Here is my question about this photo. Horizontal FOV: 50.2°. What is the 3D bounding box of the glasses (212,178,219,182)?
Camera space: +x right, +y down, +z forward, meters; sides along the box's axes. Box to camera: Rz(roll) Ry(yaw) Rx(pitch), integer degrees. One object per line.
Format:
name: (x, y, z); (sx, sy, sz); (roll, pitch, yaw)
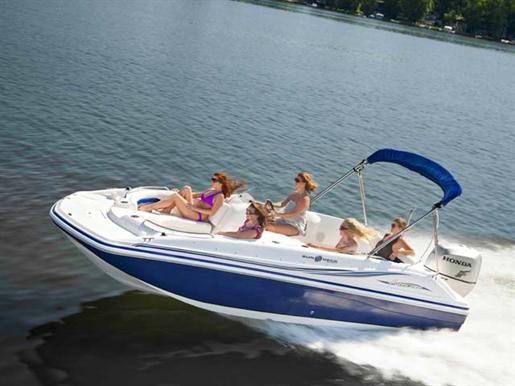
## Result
glasses: (-0.777, -0.243, 10.016); (0.099, 0.019, 0.077); (13, -7, -16)

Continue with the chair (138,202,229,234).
chair: (-1.391, 0.463, 9.937); (1.197, 0.371, 0.517); (13, -2, -15)

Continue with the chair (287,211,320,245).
chair: (1.147, 0.666, 10.722); (0.858, 0.509, 0.582); (0, 6, -14)

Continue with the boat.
boat: (1.391, 0.914, 10.209); (9.279, 2.136, 3.073); (5, 16, -12)

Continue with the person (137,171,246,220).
person: (-1.227, 0.090, 10.109); (2.078, 0.626, 0.593); (1, 18, -4)
